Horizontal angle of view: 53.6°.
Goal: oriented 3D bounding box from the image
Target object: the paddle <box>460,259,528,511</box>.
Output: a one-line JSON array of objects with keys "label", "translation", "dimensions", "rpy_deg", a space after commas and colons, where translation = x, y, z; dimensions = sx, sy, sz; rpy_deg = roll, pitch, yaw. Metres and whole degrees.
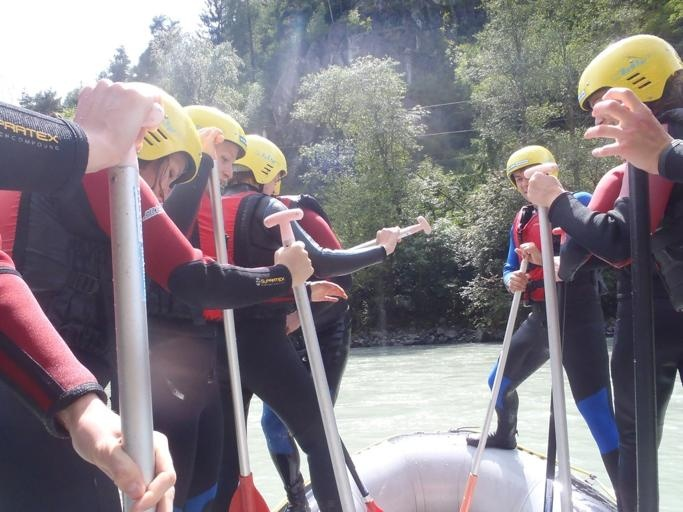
[{"label": "paddle", "translation": [1.053, 0.874, 4.682], "dimensions": [0.493, 1.059, 0.972], "rpy_deg": [-2, 1, 14]}]

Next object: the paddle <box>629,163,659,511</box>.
[{"label": "paddle", "translation": [1.080, 0.286, 2.422], "dimensions": [0.068, 1.151, 0.250], "rpy_deg": [-2, 1, 24]}]

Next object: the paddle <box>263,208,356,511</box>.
[{"label": "paddle", "translation": [-0.117, 0.515, 3.014], "dimensions": [0.270, 1.625, 0.067], "rpy_deg": [-8, 0, -18]}]

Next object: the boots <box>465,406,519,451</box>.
[{"label": "boots", "translation": [1.083, 1.288, 5.019], "dimensions": [0.459, 0.383, 0.188], "rpy_deg": [3, -33, 4]}]

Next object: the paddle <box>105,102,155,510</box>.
[{"label": "paddle", "translation": [-0.583, 0.165, 1.886], "dimensions": [0.089, 0.867, 0.191], "rpy_deg": [-2, 1, -19]}]

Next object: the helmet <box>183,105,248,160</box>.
[{"label": "helmet", "translation": [-0.754, -0.682, 4.119], "dimensions": [0.324, 0.266, 0.248], "rpy_deg": [24, 36, -1]}]
